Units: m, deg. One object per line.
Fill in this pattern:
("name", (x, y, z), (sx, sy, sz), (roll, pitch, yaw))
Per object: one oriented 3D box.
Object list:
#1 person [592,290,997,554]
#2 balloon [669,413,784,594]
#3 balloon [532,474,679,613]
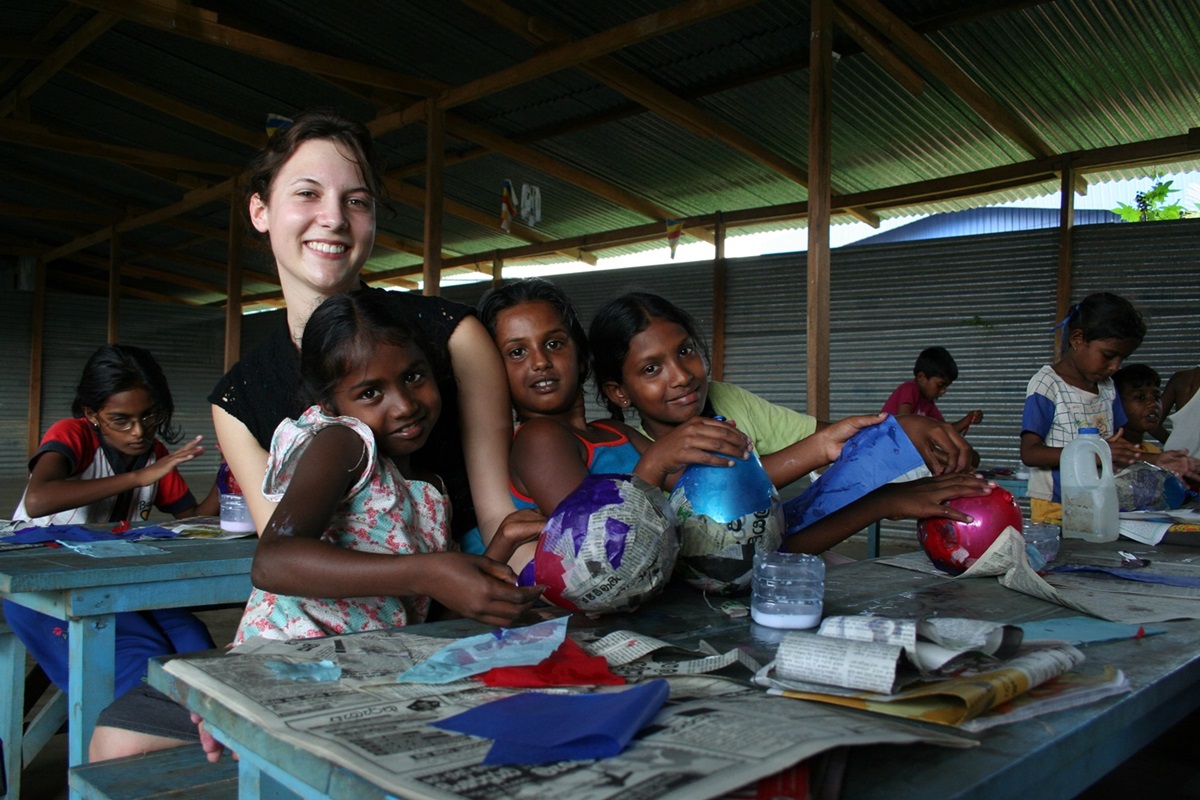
("person", (0.481, 0.012, 2.386), (1.267, 0.426, 0.802), (6, 25, 27))
("balloon", (0.298, 0.241, 1.910), (0.249, 0.224, 0.207), (10, -8, -12))
("balloon", (0.023, 0.284, 1.805), (0.401, 0.239, 0.243), (-15, 18, 1))
